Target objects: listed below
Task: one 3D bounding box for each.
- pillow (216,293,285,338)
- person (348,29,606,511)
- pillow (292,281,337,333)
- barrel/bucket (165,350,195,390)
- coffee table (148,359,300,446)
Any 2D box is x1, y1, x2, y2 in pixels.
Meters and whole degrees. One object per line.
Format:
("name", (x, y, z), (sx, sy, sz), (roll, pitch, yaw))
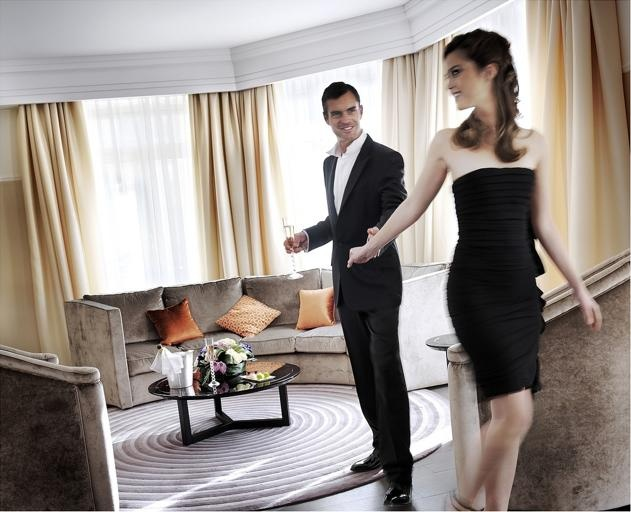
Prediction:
("pillow", (-0.456, 0.368, 3.728), (0.300, 0.091, 0.290), (21, 43, 28))
("person", (0.459, 0.080, 1.463), (0.524, 0.996, 0.177), (-8, 3, 32))
("pillow", (-0.011, 0.359, 3.612), (0.408, 0.140, 0.390), (-7, 46, 16))
("barrel/bucket", (-0.671, 0.570, 2.668), (0.152, 0.164, 0.180), (-3, -7, 20))
("coffee table", (-0.461, 0.792, 2.849), (0.742, 0.267, 0.753), (-4, -4, -31))
